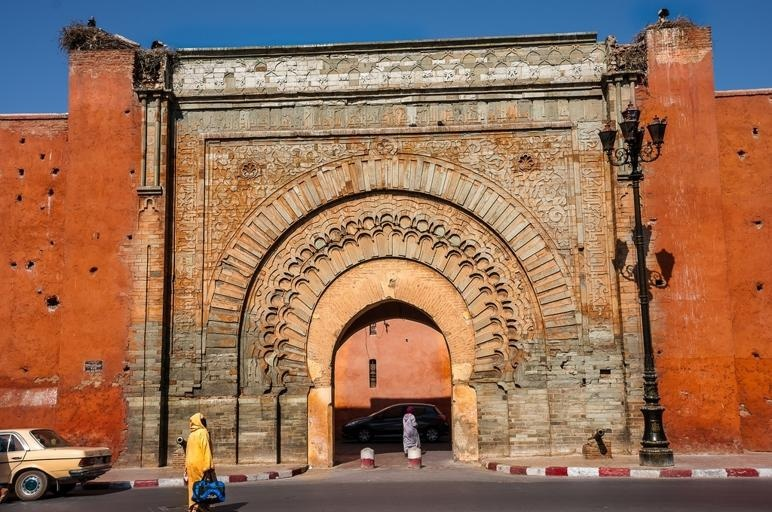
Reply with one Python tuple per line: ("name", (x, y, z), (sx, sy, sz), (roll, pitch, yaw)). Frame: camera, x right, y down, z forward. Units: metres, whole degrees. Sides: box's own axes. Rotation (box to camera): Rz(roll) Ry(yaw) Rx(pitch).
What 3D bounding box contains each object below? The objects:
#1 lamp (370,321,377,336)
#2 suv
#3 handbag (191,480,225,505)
("lamp", (-0.462, 2.551, 38.762), (0.289, 0.387, 0.274), (-3, -14, -2))
("suv", (0.317, 5.266, 34.421), (3.508, 1.106, 1.596), (1, -20, 3))
("handbag", (-3.182, 4.159, 19.414), (0.420, 0.394, 0.196), (3, -22, -6))
